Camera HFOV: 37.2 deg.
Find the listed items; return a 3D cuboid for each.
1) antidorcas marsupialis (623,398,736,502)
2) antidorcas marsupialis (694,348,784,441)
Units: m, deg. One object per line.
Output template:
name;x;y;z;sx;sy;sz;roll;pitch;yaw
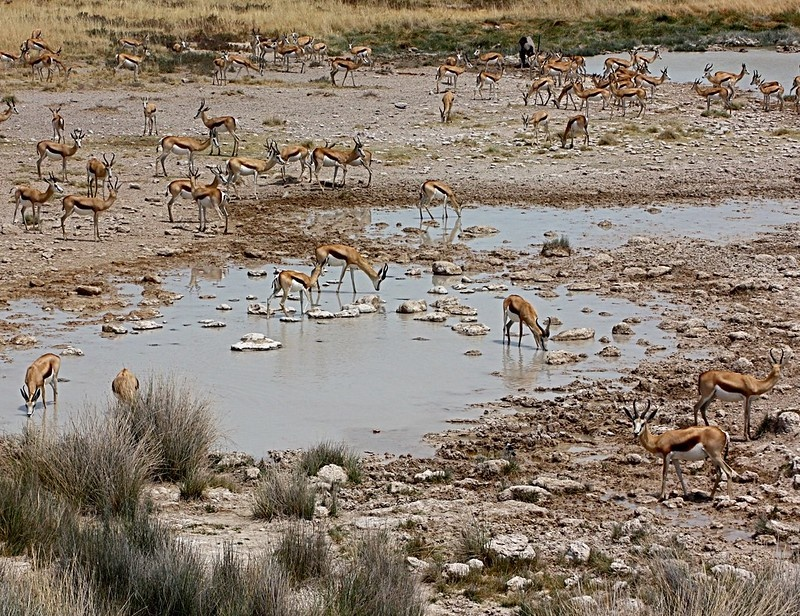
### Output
antidorcas marsupialis;3.532;1.761;14.690;1.322;1.058;1.123;-4;9;-23
antidorcas marsupialis;4.718;1.213;16.350;1.037;1.191;0.477;2;-2;15
